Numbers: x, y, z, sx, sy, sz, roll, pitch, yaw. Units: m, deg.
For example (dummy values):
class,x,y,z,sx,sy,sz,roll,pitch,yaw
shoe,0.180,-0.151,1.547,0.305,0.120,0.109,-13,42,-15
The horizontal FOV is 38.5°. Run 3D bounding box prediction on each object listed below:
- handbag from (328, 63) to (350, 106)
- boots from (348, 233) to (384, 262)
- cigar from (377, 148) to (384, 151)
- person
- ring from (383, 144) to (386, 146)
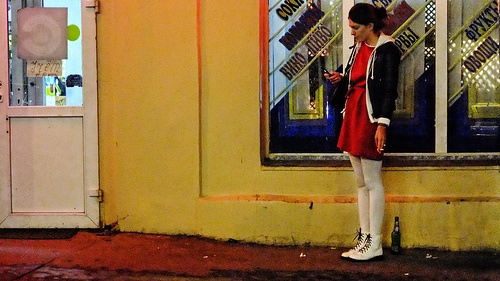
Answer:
class,x,y,z,sx,sy,sz,roll,pitch,yaw
handbag,1.221,-0.730,10.158,0.178,0.494,0.372,6,8,-9
boots,1.521,1.528,9.888,0.597,0.441,0.215,0,-1,-4
cigar,1.753,0.136,9.755,0.068,0.026,0.170,0,2,20
person,1.571,-0.098,9.885,0.912,3.562,0.400,0,1,11
ring,1.838,0.071,9.916,0.032,0.008,0.032,-7,-27,-3
